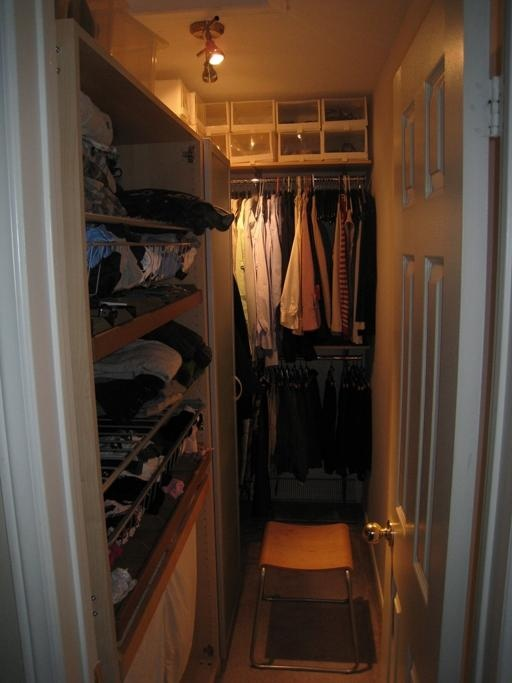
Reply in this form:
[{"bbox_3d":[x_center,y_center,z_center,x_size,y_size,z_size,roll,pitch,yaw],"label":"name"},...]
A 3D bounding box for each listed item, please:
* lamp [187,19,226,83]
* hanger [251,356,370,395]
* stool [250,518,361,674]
[{"bbox_3d":[-0.162,-1.011,1.914,0.097,0.189,0.112,-7,1,-30],"label":"lamp"},{"bbox_3d":[0.324,0.192,3.077,0.395,0.236,0.106,0,-2,-1],"label":"hanger"},{"bbox_3d":[0.223,1.113,2.283,0.352,0.359,0.591,0,-1,5],"label":"stool"}]
